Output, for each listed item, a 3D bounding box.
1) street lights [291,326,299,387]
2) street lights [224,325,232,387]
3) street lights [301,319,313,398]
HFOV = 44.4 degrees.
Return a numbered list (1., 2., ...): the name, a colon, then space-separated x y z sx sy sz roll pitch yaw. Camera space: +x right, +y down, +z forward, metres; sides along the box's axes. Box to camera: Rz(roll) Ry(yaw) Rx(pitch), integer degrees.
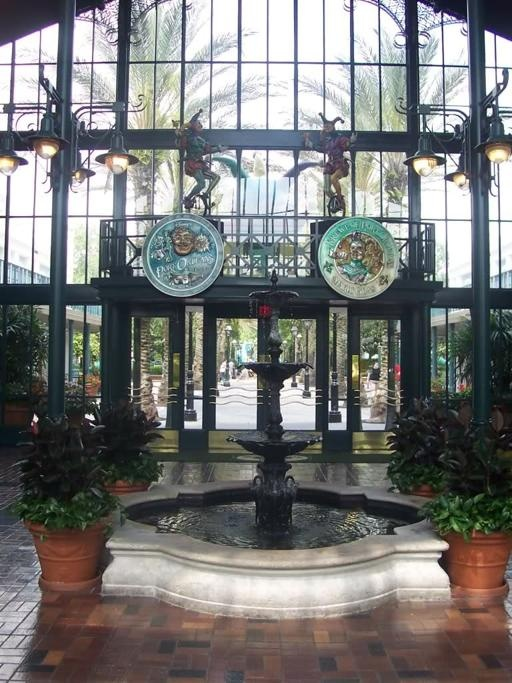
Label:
1. street lights: 0.787 0.297 12.902 0.172 1.263 0.529 2 0 4
2. street lights: -0.570 0.293 12.672 0.149 1.234 0.256 2 0 -3
3. street lights: 1.045 0.356 12.808 0.167 1.584 0.300 2 0 4
